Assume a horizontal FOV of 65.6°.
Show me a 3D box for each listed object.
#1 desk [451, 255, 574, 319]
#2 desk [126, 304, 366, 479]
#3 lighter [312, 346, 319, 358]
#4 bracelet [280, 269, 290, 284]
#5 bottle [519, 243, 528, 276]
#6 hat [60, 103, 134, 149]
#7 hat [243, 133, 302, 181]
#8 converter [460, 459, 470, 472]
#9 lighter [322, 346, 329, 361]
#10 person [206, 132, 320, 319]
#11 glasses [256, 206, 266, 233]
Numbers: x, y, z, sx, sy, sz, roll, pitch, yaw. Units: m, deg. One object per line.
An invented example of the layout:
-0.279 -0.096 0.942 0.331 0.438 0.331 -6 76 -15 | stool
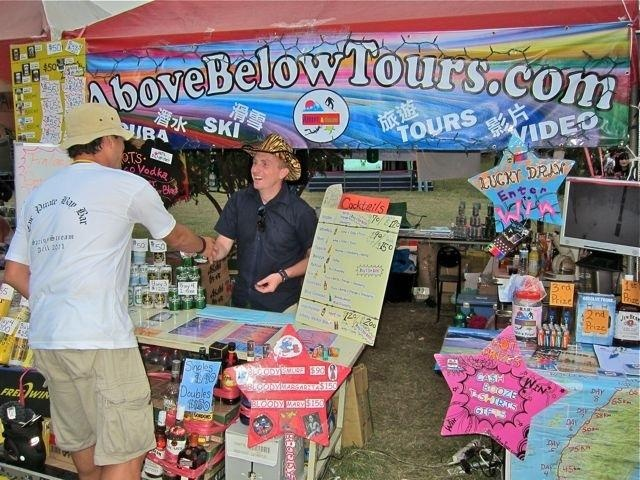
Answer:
2.225 0.415 6.513 1.223 0.849 0.828 3 15 20 | desk
-0.595 1.240 3.738 2.051 1.042 1.079 6 8 29 | desk
-0.035 0.707 3.142 0.038 0.039 0.071 9 21 6 | lighter
-0.292 0.278 3.840 0.067 0.099 0.104 1 -13 -10 | bracelet
1.683 0.173 4.096 0.081 0.190 0.243 7 10 21 | bottle
-1.307 -0.651 2.921 0.262 0.183 0.348 0 10 7 | hat
-0.387 -0.687 4.074 0.418 0.388 0.458 1 10 -14 | hat
1.148 1.779 3.930 0.069 0.096 0.090 -8 24 -3 | converter
0.036 0.715 3.137 0.054 0.061 0.101 4 10 2 | lighter
-0.486 -0.079 4.037 0.905 1.478 0.786 5 26 -6 | person
-0.476 -0.171 3.968 0.067 0.201 0.072 2 9 -9 | glasses
